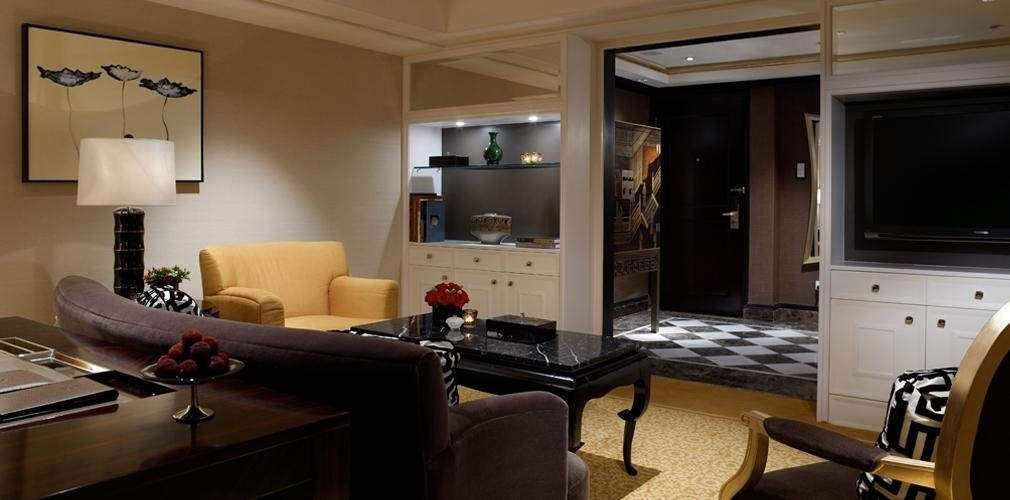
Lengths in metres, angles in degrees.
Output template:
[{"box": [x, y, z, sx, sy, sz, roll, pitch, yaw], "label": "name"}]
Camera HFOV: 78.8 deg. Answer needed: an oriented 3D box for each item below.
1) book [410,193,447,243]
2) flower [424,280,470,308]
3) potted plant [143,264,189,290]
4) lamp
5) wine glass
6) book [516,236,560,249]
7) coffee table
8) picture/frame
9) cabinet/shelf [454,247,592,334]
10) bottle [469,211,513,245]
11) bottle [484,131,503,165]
[{"box": [-0.890, -0.367, 6.966, 0.417, 0.531, 0.263, -6, 14, -21], "label": "book"}, {"box": [-0.472, 0.374, 5.148, 0.305, 0.190, 0.304, 1, 1, 40], "label": "flower"}, {"box": [-2.805, 0.214, 5.080, 0.289, 0.172, 0.277, 2, 0, 30], "label": "potted plant"}, {"box": [-3.073, -0.266, 5.142, 0.940, 1.548, 0.560, 3, 2, -17], "label": "lamp"}, {"box": [-1.471, 0.631, 2.860, 0.365, 0.300, 0.262, 3, 3, -17], "label": "wine glass"}, {"box": [0.363, -0.087, 6.374, 0.459, 0.093, 0.215, 9, 15, 40], "label": "book"}, {"box": [0.229, 1.314, 5.739, 3.448, 1.322, 1.461, -1, 0, -1], "label": "coffee table"}, {"box": [-3.256, -1.164, 5.151, 1.719, 1.186, 0.090, 6, 8, 9], "label": "picture/frame"}, {"box": [0.245, 0.400, 6.009, 1.040, 0.796, 0.412, 0, -2, 27], "label": "cabinet/shelf"}, {"box": [-0.138, -0.234, 6.770, 0.404, 0.232, 0.367, -1, 5, 20], "label": "bottle"}, {"box": [-0.128, -1.130, 6.807, 0.201, 0.341, 0.241, -1, 13, -1], "label": "bottle"}]
